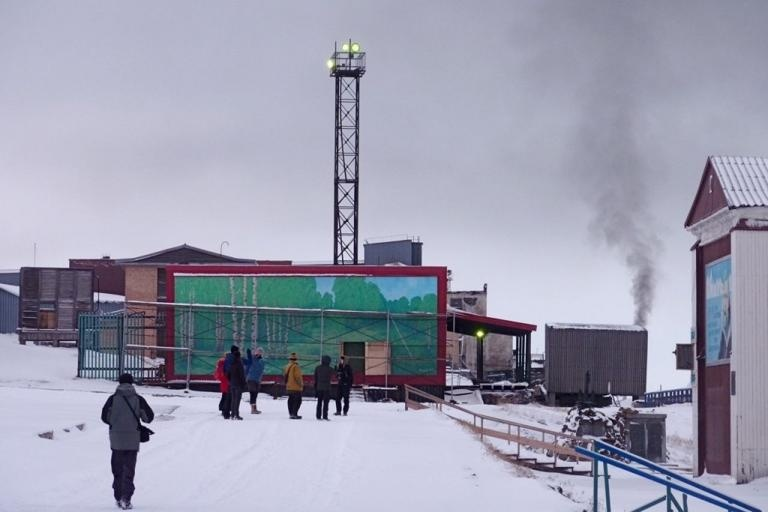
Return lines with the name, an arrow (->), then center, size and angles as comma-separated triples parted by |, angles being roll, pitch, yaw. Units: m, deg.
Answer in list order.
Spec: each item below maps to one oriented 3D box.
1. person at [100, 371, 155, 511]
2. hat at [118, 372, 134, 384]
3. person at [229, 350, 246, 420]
person -> -8.238, 5.900, 37.576 | 1.449, 4.247, 0.606 | 3, -8, -14
hat -> -8.343, 3.962, 38.098 | 0.331, 0.457, 0.437 | 1, 4, -16
person -> -5.782, 5.022, 46.329 | 0.612, 2.790, 0.975 | 2, -8, -8
